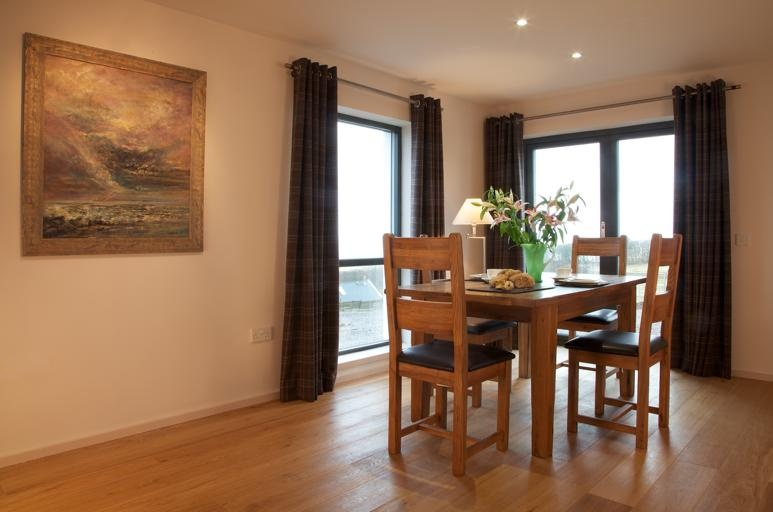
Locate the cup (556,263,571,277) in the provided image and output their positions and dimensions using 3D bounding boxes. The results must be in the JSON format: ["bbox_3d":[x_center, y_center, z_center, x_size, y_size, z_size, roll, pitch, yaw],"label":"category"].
[{"bbox_3d":[1.647,0.129,4.822,0.142,0.084,0.114,-3,3,-3],"label":"cup"}]

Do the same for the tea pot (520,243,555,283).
[{"bbox_3d":[1.230,0.069,4.323,0.330,0.288,0.228,-1,-5,12],"label":"tea pot"}]

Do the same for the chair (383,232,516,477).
[{"bbox_3d":[0.395,0.611,3.715,0.900,1.607,0.662,5,12,30],"label":"chair"}]

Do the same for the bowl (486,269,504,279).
[{"bbox_3d":[0.869,0.135,4.222,0.109,0.068,0.102,0,4,0],"label":"bowl"}]

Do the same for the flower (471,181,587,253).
[{"bbox_3d":[1.057,-0.293,4.273,0.769,0.378,0.526,3,-10,-26],"label":"flower"}]
